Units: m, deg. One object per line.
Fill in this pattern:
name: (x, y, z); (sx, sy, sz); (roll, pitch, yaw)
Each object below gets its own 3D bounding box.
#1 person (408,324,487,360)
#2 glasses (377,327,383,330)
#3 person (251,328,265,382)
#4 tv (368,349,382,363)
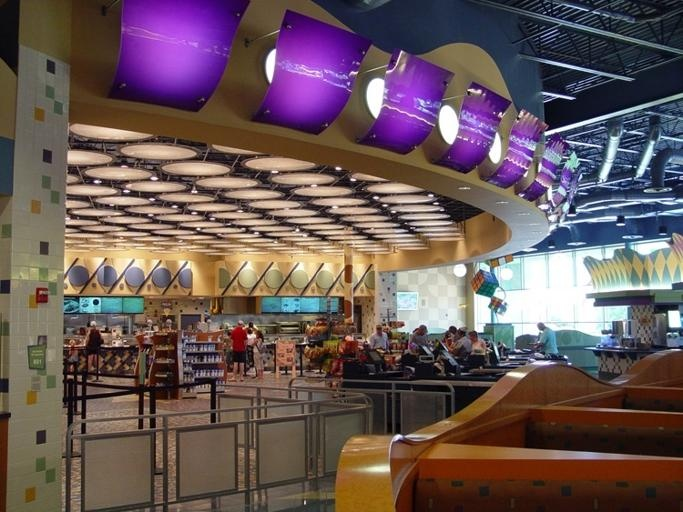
person: (2.671, 2.198, 13.602); (1.620, 0.550, 1.060); (0, -4, 24)
glasses: (1.138, 2.159, 16.109); (0.108, 0.133, 0.140); (7, -5, 23)
person: (-2.923, 3.468, 19.212); (0.351, 1.590, 0.824); (1, -7, -13)
tv: (0.727, 2.096, 11.339); (0.266, 0.230, 0.515); (0, -7, -4)
